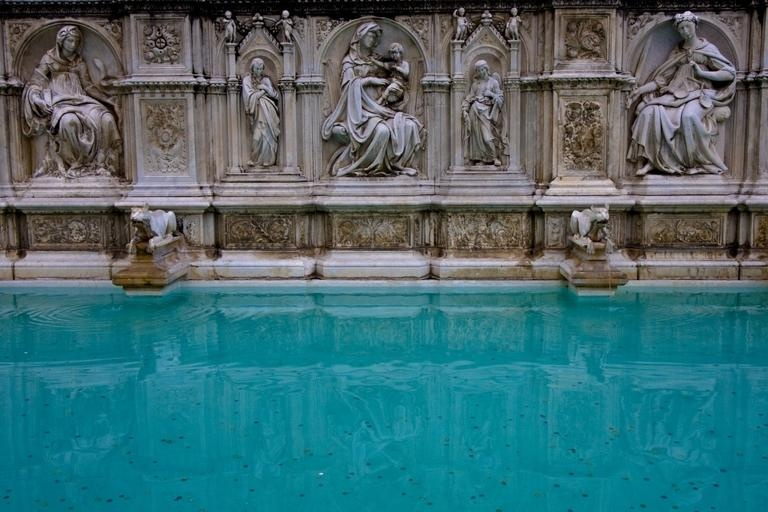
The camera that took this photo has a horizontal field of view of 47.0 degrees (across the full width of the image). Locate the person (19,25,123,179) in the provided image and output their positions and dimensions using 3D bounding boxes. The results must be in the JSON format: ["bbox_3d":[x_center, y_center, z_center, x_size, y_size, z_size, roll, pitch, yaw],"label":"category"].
[{"bbox_3d":[-5.077,-2.513,14.422,1.472,2.410,0.485,-1,4,9],"label":"person"}]

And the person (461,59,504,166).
[{"bbox_3d":[1.589,-2.267,14.170,0.679,1.656,0.334,-1,4,7],"label":"person"}]

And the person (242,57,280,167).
[{"bbox_3d":[-1.972,-2.307,14.322,0.579,1.721,0.260,-2,4,-7],"label":"person"}]

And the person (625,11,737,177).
[{"bbox_3d":[4.699,-2.554,14.067,1.604,2.517,0.484,-1,4,15],"label":"person"}]
